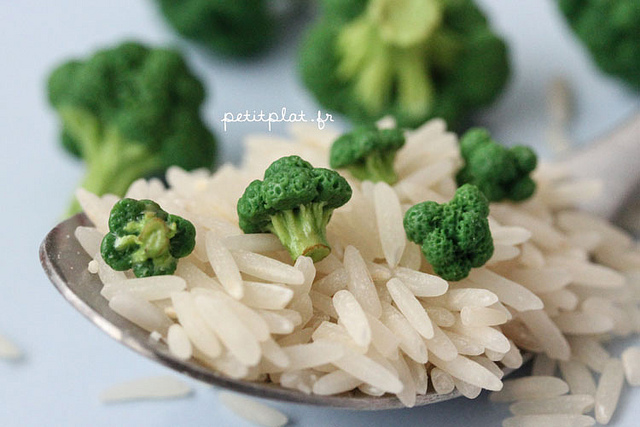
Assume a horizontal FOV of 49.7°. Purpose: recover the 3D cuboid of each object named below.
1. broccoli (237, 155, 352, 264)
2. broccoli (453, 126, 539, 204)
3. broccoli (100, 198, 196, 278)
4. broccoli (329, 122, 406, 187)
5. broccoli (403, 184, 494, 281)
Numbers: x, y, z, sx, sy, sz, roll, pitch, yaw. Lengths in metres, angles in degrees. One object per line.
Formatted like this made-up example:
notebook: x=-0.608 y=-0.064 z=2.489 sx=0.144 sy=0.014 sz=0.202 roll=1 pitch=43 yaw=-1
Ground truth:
broccoli: x=-0.072 y=-0.011 z=1.856 sx=0.299 sy=0.295 sz=0.286 roll=-6 pitch=70 yaw=-24
broccoli: x=0.538 y=-0.161 z=2.100 sx=0.229 sy=0.231 sz=0.091 roll=-1 pitch=27 yaw=6
broccoli: x=-0.434 y=0.050 z=1.778 sx=0.238 sy=0.074 sz=0.233 roll=-9 pitch=65 yaw=-27
broccoli: x=0.140 y=-0.178 z=2.114 sx=0.169 sy=0.194 sz=0.167 roll=-26 pitch=88 yaw=-12
broccoli: x=0.341 y=0.053 z=1.738 sx=0.216 sy=0.079 sz=0.246 roll=-4 pitch=87 yaw=5
